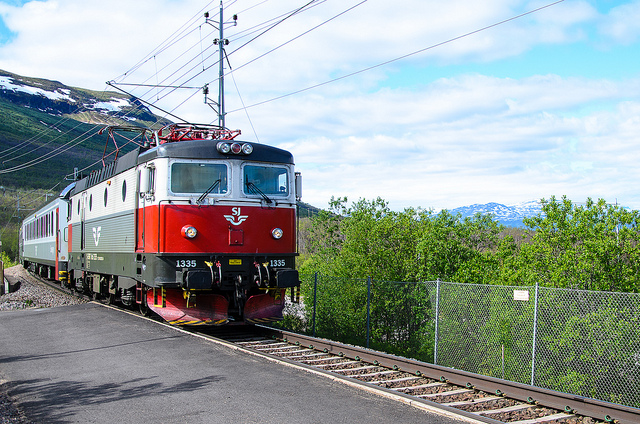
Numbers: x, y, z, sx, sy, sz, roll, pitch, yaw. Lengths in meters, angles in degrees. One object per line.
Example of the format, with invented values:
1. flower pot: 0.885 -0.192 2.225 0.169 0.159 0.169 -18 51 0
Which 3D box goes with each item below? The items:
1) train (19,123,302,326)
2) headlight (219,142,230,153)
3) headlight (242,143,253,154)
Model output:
1. train: -8.647 0.312 23.300 5.122 7.130 20.959 0 -3 -37
2. headlight: -2.749 -1.828 15.189 0.136 0.250 0.252 5 17 36
3. headlight: -2.108 -1.813 15.431 0.327 0.256 0.091 3 -2 -43
